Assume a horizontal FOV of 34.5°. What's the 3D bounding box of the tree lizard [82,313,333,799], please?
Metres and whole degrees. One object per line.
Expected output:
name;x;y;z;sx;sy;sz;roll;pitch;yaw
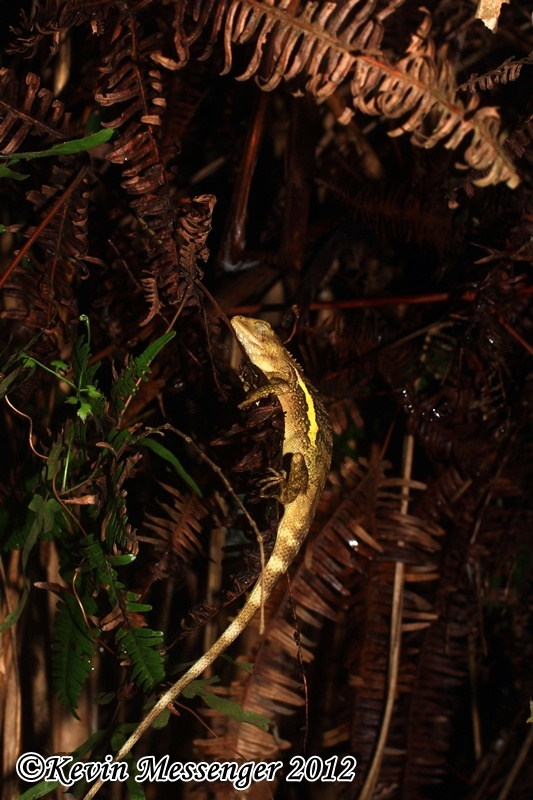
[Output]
tree lizard;-0.082;0.226;1.167;0.133;0.121;0.746;29;89;-2
